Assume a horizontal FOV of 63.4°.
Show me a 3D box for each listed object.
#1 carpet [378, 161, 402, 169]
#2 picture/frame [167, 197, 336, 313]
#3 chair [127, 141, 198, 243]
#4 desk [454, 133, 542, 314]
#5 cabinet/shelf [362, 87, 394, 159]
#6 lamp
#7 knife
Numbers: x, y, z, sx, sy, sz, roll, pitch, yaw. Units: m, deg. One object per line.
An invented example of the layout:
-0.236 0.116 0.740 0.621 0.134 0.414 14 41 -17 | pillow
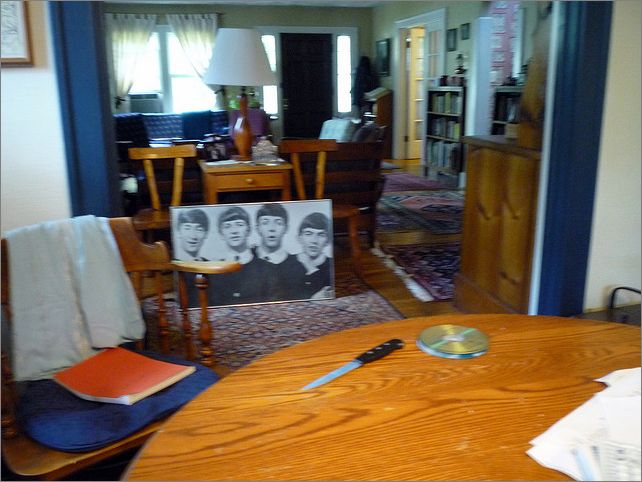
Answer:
1.214 -1.305 8.918 0.310 0.096 0.970 0 13 8 | carpet
-0.434 0.081 3.149 1.310 0.570 0.024 0 3 33 | picture/frame
-1.011 -0.317 3.365 0.590 0.580 0.467 -1 16 -11 | chair
0.917 -0.032 2.777 0.344 1.034 0.736 -2 19 8 | desk
1.026 -2.221 9.762 0.564 1.060 0.752 -6 19 -9 | cabinet/shelf
-0.549 -1.030 3.657 0.488 0.913 0.402 -6 21 -4 | lamp
0.144 0.282 1.271 0.434 0.033 0.070 -11 16 -32 | knife
